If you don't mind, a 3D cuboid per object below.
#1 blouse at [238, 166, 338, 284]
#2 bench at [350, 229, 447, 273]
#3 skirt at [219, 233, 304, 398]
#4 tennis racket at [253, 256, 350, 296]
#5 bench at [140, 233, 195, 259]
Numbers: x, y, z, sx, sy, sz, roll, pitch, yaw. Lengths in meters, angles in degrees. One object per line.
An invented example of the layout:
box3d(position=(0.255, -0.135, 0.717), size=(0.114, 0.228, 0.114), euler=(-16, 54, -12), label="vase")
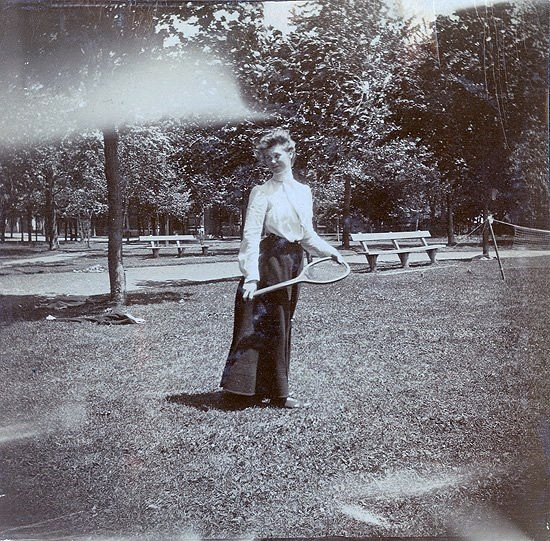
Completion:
box3d(position=(0.078, -0.295, 3.855), size=(0.651, 0.803, 0.348), euler=(-2, -4, -19), label="blouse")
box3d(position=(1.141, -0.183, 5.723), size=(0.839, 0.406, 0.315), euler=(-5, -2, -19), label="bench")
box3d(position=(-0.063, 0.327, 4.003), size=(0.377, 1.272, 0.852), euler=(7, 8, 25), label="skirt")
box3d(position=(0.228, -0.004, 4.260), size=(0.633, 0.032, 0.277), euler=(-23, 45, -17), label="tennis racket")
box3d(position=(-0.842, -0.204, 5.048), size=(0.284, 0.203, 0.632), euler=(-2, 4, 24), label="bench")
